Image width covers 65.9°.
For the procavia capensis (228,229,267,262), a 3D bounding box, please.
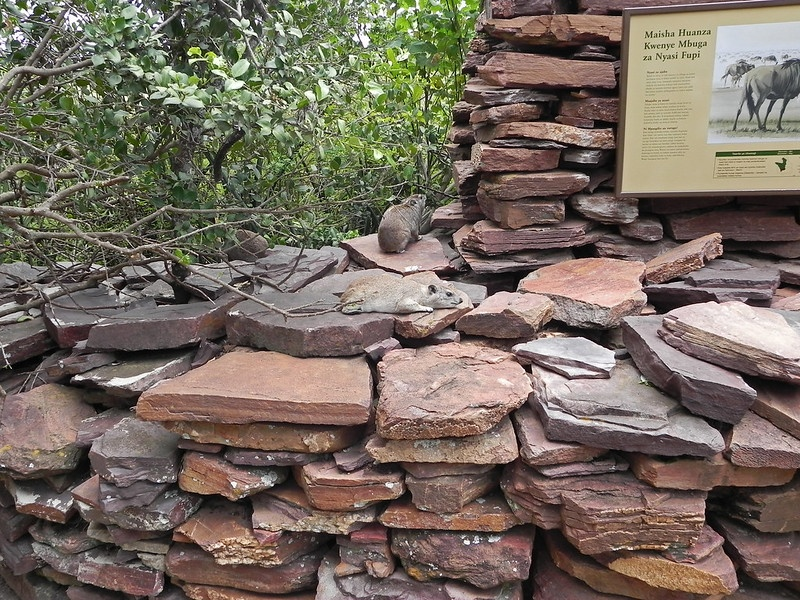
[{"bbox_3d":[-1.502,-0.546,6.087,0.413,0.318,0.236,-6,18,-9],"label":"procavia capensis"}]
